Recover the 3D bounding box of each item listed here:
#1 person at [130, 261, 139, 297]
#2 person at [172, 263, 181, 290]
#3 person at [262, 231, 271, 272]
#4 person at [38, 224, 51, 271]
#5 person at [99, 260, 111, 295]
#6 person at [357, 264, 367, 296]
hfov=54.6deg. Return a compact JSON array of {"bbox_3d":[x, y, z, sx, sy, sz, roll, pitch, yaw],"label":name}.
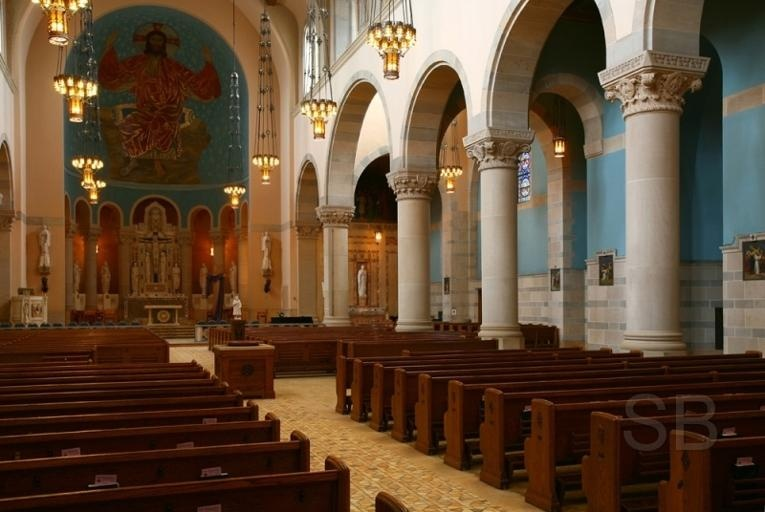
[{"bbox_3d":[-13.660,1.086,40.678,0.560,1.597,0.348,1,-3,-10],"label":"person"},{"bbox_3d":[-11.658,1.132,41.610,0.591,1.590,0.283,2,-3,-32],"label":"person"},{"bbox_3d":[-5.430,-0.257,34.237,0.422,1.781,0.547,0,-3,-4],"label":"person"},{"bbox_3d":[-14.598,-0.369,31.823,0.450,1.991,0.746,1,-3,-25],"label":"person"},{"bbox_3d":[-15.073,1.107,40.203,0.470,1.755,1.038,1,-3,-20],"label":"person"},{"bbox_3d":[-1.054,1.174,35.514,0.386,1.507,0.706,0,-3,9],"label":"person"}]
